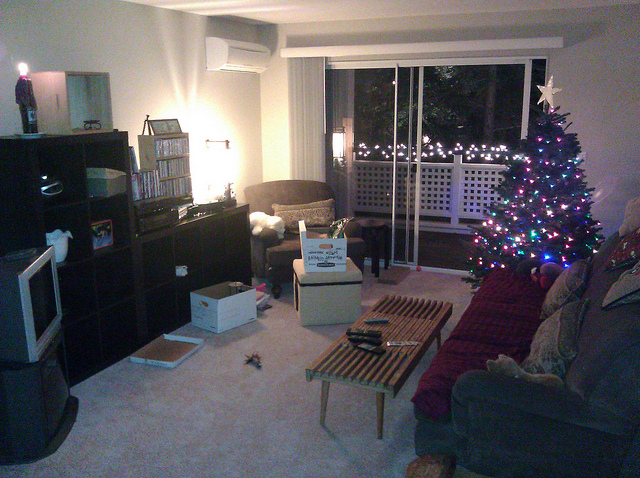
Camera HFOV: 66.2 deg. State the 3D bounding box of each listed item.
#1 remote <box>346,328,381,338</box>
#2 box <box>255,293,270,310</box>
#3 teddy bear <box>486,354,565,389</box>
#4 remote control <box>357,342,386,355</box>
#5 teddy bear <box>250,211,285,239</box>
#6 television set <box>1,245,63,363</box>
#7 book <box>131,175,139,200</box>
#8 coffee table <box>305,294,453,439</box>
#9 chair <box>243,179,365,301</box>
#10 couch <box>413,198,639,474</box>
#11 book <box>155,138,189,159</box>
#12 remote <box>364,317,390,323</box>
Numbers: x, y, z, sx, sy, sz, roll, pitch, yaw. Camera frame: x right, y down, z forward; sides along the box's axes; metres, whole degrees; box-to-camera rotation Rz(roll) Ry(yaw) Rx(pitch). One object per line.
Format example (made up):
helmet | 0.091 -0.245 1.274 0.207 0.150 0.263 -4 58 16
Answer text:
remote | 0.336 0.726 3.793 0.268 0.031 0.116 7 18 30
box | -0.639 0.699 5.456 0.124 0.050 0.131 -12 16 -19
teddy bear | 1.198 0.779 2.865 0.354 0.102 0.152 8 0 19
remote control | 0.381 0.805 3.626 0.145 0.020 0.075 9 17 37
teddy bear | -0.662 -0.141 5.932 0.425 0.300 0.337 1 16 11
television set | -1.876 0.410 3.155 0.234 0.617 0.493 -4 15 -5
book | -1.735 -0.489 4.639 0.020 0.233 0.065 6 17 27
coffee table | 0.572 0.930 4.011 0.697 0.444 1.611 2 14 29
chair | -0.228 -0.032 6.240 1.398 1.268 1.359 -7 15 -35
couch | 1.507 0.640 3.499 0.800 0.786 1.670 5 21 29
book | -1.516 -0.942 5.077 0.042 0.193 0.402 6 18 29
remote | 0.468 0.671 4.064 0.122 0.030 0.072 -4 4 -3
